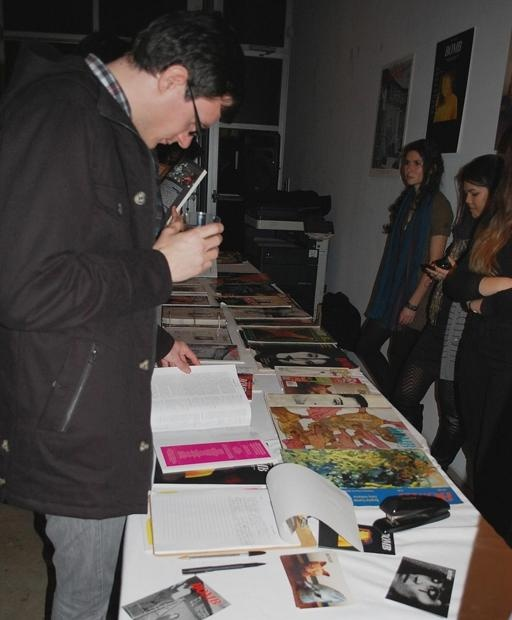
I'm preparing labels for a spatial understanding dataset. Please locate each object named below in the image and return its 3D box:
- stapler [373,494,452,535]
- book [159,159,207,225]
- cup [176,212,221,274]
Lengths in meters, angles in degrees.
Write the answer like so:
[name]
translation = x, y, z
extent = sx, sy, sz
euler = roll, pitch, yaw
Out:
[stapler]
translation = 0.277, 0.360, 0.887
extent = 0.176, 0.055, 0.051
euler = -3, 7, -18
[book]
translation = -0.224, -0.354, 1.599
extent = 0.163, 0.240, 0.203
euler = 1, 19, -5
[cup]
translation = -0.106, -0.118, 0.879
extent = 0.078, 0.096, 0.083
euler = 4, 20, -1
